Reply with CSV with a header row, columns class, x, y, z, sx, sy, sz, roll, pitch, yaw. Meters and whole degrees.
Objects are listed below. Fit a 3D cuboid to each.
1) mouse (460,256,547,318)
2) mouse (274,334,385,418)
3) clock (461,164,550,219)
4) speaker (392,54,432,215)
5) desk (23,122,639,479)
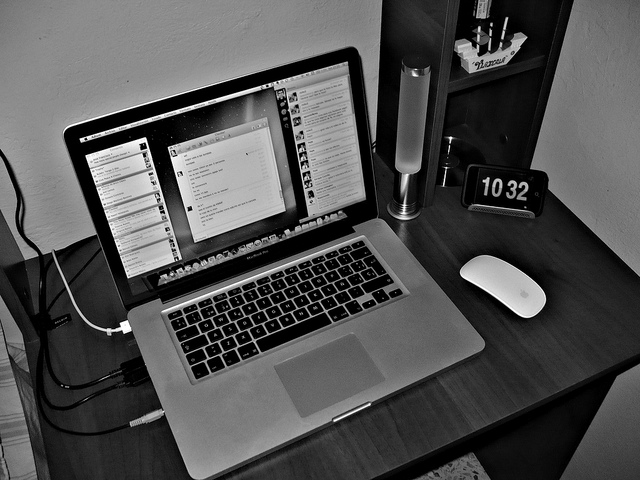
class,x,y,z,sx,sy,sz,roll,pitch,yaw
mouse,0.354,0.077,1.017,0.086,0.036,0.149,-34,53,-29
mouse,0.016,0.232,0.902,0.168,0.050,0.092,-19,31,-14
clock,0.386,-0.099,1.099,0.169,0.111,0.040,14,18,14
speaker,0.190,-0.204,1.102,0.069,0.341,0.076,4,37,8
desk,0.035,0.527,1.496,1.249,0.960,0.703,-21,54,-17
